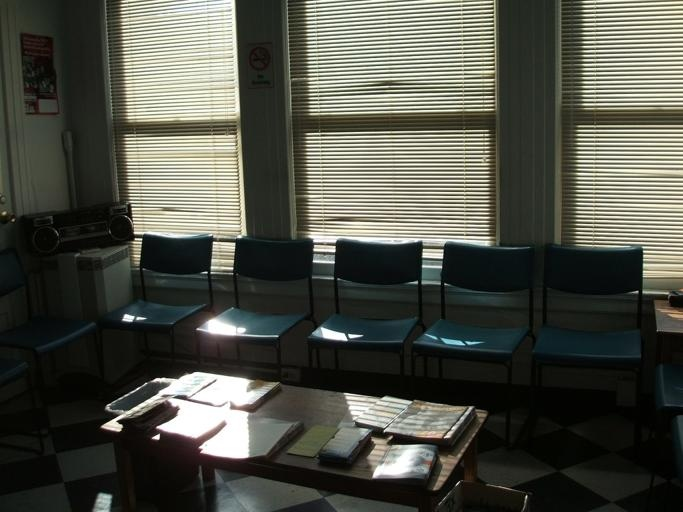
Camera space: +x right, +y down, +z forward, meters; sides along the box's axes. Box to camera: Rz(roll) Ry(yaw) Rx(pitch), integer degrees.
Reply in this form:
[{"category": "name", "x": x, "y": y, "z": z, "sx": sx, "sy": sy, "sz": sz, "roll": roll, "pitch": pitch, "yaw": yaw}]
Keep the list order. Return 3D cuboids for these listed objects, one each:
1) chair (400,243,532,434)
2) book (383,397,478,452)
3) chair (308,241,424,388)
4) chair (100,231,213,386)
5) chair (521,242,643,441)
[{"category": "chair", "x": 0.877, "y": 0.542, "z": 3.820, "sx": 0.683, "sy": 0.726, "sz": 1.164, "roll": 5, "pitch": -78, "yaw": 34}, {"category": "book", "x": 0.413, "y": 0.813, "z": 2.799, "sx": 0.358, "sy": 0.339, "sz": 0.070, "roll": 6, "pitch": -72, "yaw": 32}, {"category": "chair", "x": 0.183, "y": 0.509, "z": 4.016, "sx": 0.651, "sy": 0.666, "sz": 1.132, "roll": 2, "pitch": -77, "yaw": 13}, {"category": "chair", "x": -1.347, "y": 0.402, "z": 4.353, "sx": 0.653, "sy": 0.743, "sz": 1.016, "roll": 7, "pitch": -75, "yaw": 21}, {"category": "chair", "x": 1.584, "y": 0.500, "z": 3.757, "sx": 0.745, "sy": 0.893, "sz": 0.880, "roll": -1, "pitch": -60, "yaw": 14}]
